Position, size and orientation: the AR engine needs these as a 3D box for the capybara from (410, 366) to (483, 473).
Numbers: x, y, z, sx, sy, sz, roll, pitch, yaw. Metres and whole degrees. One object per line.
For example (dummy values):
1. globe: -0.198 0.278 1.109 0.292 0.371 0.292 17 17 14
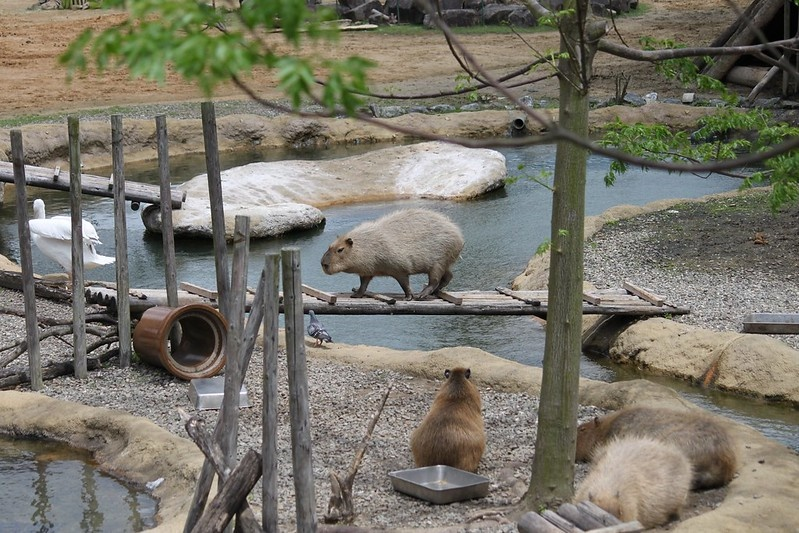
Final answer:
1. capybara: 0.757 2.016 14.988 0.918 1.338 0.903 5 -25 14

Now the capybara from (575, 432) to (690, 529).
1. capybara: 2.829 2.601 13.692 0.991 0.721 1.240 24 36 35

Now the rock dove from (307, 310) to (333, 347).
1. rock dove: -1.292 1.030 18.554 0.266 0.469 0.713 -6 18 -36

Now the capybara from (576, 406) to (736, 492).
1. capybara: 3.330 2.405 14.899 2.240 1.005 1.228 -2 -10 34

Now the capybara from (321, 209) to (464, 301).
1. capybara: -0.140 -0.160 18.147 2.416 1.338 1.102 -9 14 -25

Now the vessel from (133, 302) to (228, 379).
1. vessel: -3.415 1.119 17.579 1.161 0.993 1.323 0 3 -34

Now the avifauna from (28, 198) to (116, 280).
1. avifauna: -5.712 -0.479 19.704 1.755 1.319 0.865 4 -3 11
